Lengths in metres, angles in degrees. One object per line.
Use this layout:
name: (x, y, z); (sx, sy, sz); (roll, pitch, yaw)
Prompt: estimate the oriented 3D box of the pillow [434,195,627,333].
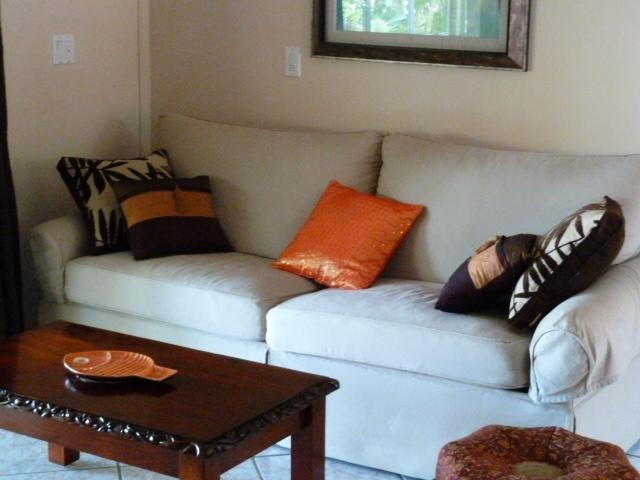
pillow: (0.727, 0.078, 2.039); (0.557, 0.474, 0.266); (13, 20, 28)
